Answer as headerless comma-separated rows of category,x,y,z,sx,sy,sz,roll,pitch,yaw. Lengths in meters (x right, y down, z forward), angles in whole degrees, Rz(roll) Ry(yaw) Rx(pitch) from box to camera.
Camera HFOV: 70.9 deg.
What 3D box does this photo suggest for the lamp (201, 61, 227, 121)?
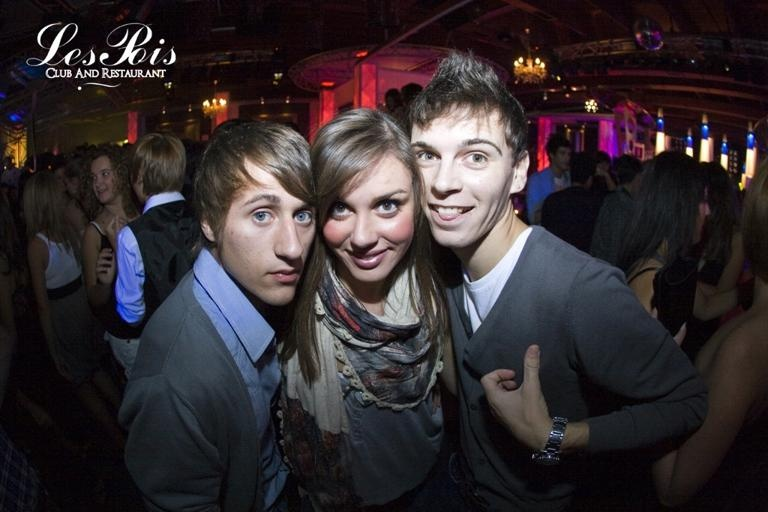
lamp,-3.549,-3.366,11.297,0.508,0.908,0.513,0,1,-6
